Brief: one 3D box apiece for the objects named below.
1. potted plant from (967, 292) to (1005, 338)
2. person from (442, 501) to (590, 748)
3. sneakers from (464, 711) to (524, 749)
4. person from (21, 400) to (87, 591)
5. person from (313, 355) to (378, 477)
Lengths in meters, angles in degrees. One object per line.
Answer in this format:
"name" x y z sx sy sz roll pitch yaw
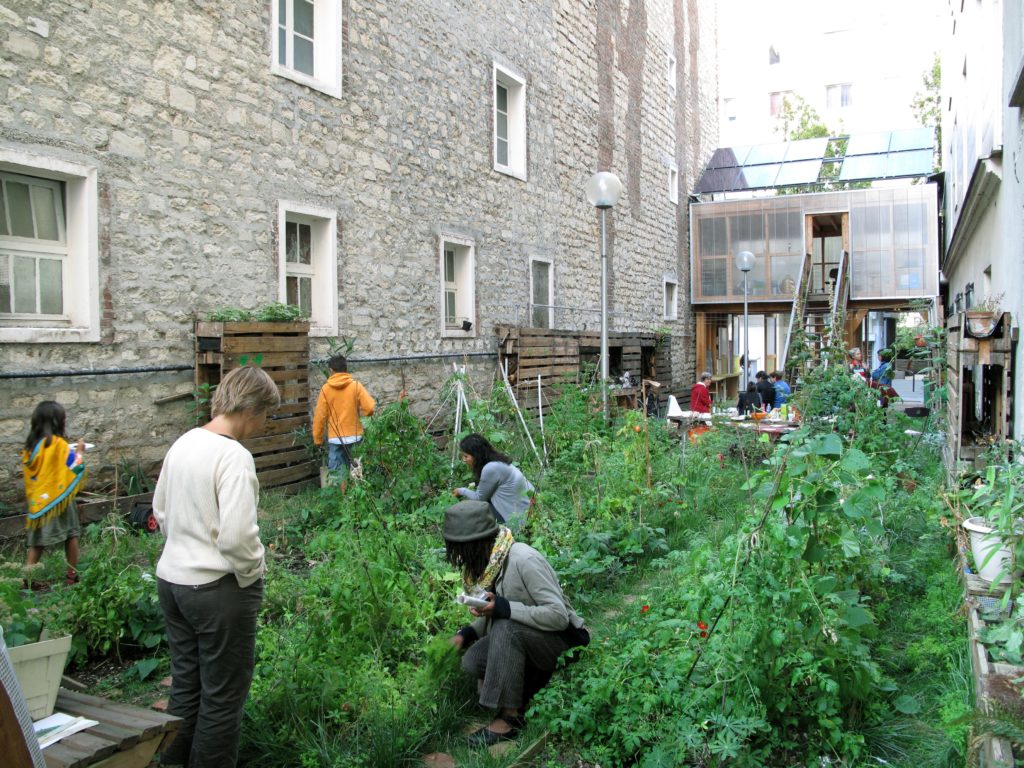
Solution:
"potted plant" 4.731 -0.693 7.277 0.307 0.424 2.176 -3 3 34
"person" 0.016 1.411 4.401 0.838 1.292 0.756 6 -18 -22
"sneakers" -0.102 1.911 4.050 0.313 0.127 0.120 3 0 -33
"person" -3.484 0.818 5.567 0.430 1.561 0.289 -5 2 -30
"person" -1.908 0.343 8.294 0.677 1.187 0.506 -4 2 -17
